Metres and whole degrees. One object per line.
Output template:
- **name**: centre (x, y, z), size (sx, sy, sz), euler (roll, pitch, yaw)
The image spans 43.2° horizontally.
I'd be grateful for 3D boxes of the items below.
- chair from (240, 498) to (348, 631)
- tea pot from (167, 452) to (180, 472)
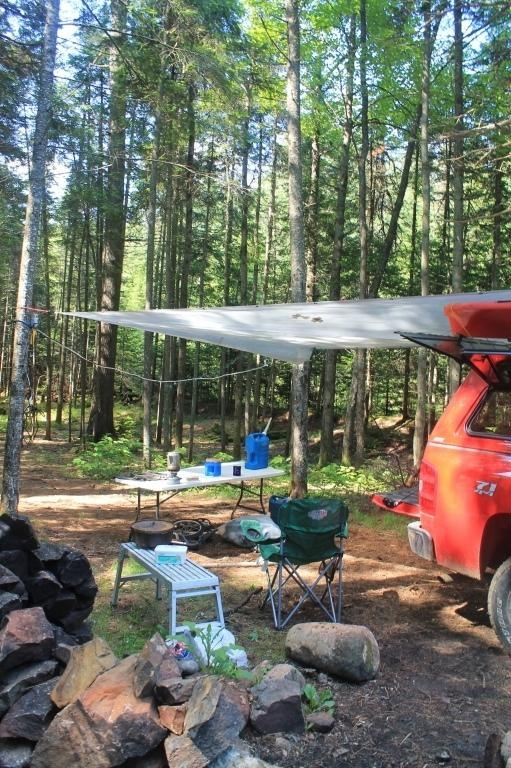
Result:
- **chair**: centre (0.324, 1.326, 4.885), size (0.938, 0.881, 0.597), euler (4, -5, -13)
- **tea pot**: centre (-0.852, 0.826, 6.760), size (0.109, 0.216, 0.152), euler (1, 1, -16)
